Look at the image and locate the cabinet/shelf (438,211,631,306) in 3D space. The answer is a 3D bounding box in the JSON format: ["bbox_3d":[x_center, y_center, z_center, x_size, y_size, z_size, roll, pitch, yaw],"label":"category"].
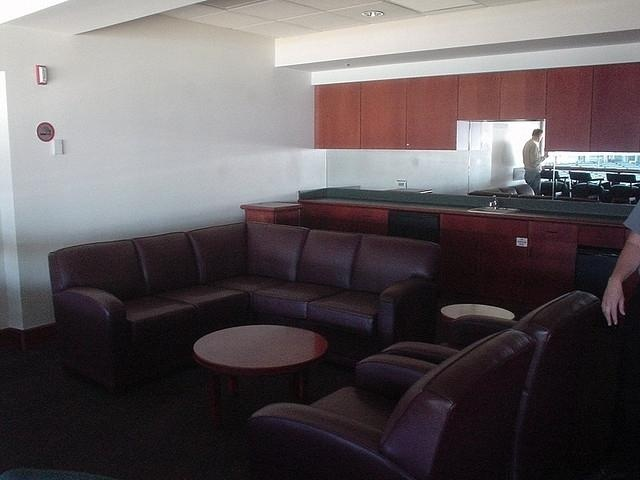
[{"bbox_3d":[2.373,0.197,5.113,1.329,0.650,0.380,4,5,33],"label":"cabinet/shelf"}]

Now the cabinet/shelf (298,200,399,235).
[{"bbox_3d":[0.294,-0.210,7.177,1.547,0.638,0.483,3,0,-30],"label":"cabinet/shelf"}]

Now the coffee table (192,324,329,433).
[{"bbox_3d":[-0.473,0.940,3.356,0.780,0.380,0.767,-10,14,-43],"label":"coffee table"}]

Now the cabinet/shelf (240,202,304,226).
[{"bbox_3d":[-0.658,-0.397,6.384,0.514,0.430,0.434,6,11,33],"label":"cabinet/shelf"}]

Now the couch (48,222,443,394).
[{"bbox_3d":[-0.574,0.505,4.225,2.061,0.753,2.058,6,10,42],"label":"couch"}]

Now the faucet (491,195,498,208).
[{"bbox_3d":[2.344,-0.513,6.293,0.116,0.135,0.052,-2,-4,-20],"label":"faucet"}]
